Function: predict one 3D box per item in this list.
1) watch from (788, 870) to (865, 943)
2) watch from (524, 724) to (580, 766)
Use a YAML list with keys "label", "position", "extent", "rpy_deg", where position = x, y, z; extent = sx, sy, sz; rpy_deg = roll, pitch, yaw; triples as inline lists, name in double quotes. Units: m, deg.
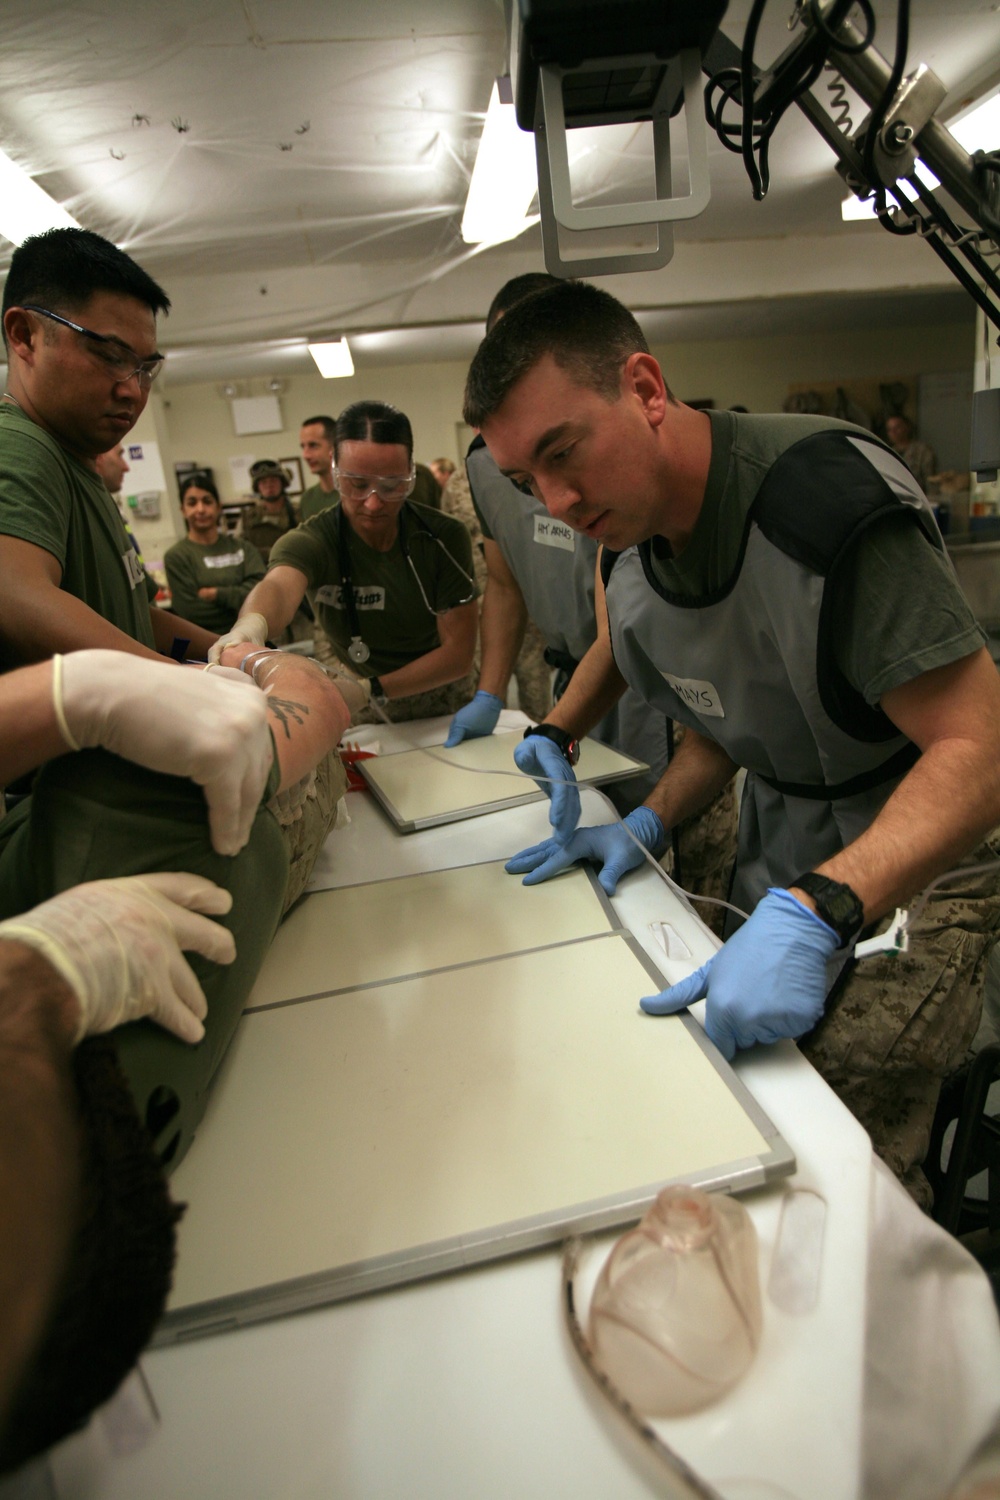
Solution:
- label: "watch"
  position: [0.340, 0.157, 1.067]
  extent: [0.047, 0.079, 0.074]
  rpy_deg: [-39, 2, -12]
- label: "watch"
  position: [0.085, -0.022, 1.784]
  extent: [0.086, 0.042, 0.068]
  rpy_deg: [30, 4, 18]
